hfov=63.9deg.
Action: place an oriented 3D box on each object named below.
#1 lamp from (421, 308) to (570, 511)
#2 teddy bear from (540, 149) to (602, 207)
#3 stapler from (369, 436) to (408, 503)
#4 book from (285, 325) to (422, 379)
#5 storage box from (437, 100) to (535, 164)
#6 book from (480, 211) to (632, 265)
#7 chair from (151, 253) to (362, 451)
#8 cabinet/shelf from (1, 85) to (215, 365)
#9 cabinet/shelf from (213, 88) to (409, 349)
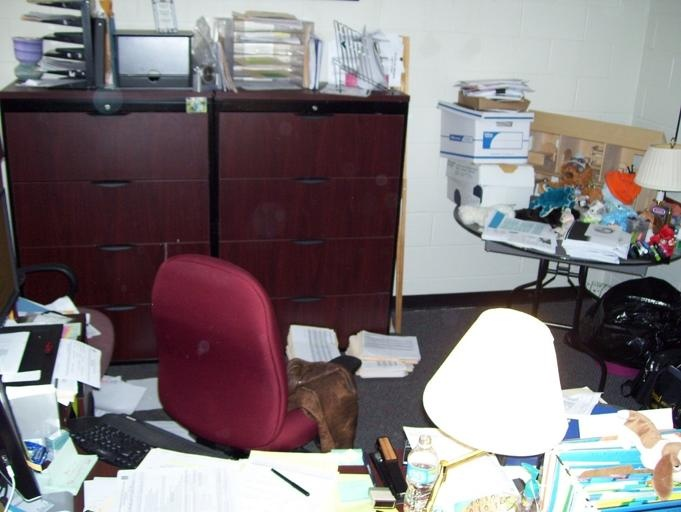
[{"bbox_3d":[0.358,0.367,1.284,0.196,0.407,0.239,8,22,11],"label":"lamp"},{"bbox_3d":[1.301,-0.434,3.051,0.340,0.251,0.232,14,5,40],"label":"teddy bear"},{"bbox_3d":[0.127,0.579,1.505,0.050,0.064,0.175,-5,31,-14],"label":"stapler"},{"bbox_3d":[0.052,0.515,2.929,0.561,0.090,0.463,19,19,15],"label":"book"},{"bbox_3d":[0.843,-0.715,3.307,0.525,0.400,0.351,-2,20,-15],"label":"storage box"},{"bbox_3d":[1.072,-0.097,2.729,0.672,0.152,0.335,8,20,24],"label":"book"},{"bbox_3d":[-0.279,0.349,1.922,0.695,0.755,0.390,-7,19,-21],"label":"chair"},{"bbox_3d":[-1.199,-0.200,2.779,0.844,1.136,0.454,-2,22,-13],"label":"cabinet/shelf"},{"bbox_3d":[-0.176,-0.268,2.997,0.984,1.325,0.615,-3,21,-17],"label":"cabinet/shelf"}]
